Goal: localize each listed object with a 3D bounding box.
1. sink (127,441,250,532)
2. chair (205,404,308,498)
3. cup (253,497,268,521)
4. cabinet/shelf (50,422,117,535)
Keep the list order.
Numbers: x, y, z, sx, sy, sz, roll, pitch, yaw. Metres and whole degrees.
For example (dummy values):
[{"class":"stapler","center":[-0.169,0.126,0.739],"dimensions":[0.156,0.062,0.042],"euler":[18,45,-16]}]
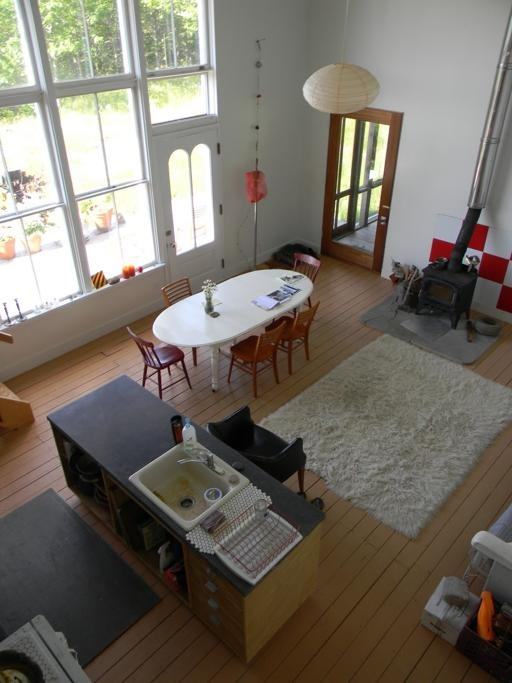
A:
[{"class":"sink","center":[-0.389,0.891,2.962],"dimensions":[0.496,0.304,0.469],"euler":[31,51,32]},{"class":"chair","center":[0.023,0.767,3.481],"dimensions":[0.355,0.511,0.393],"euler":[-40,60,-22]},{"class":"cup","center":[0.025,0.885,2.642],"dimensions":[0.060,0.093,0.060],"euler":[1,43,0]},{"class":"cabinet/shelf","center":[-1.191,0.974,3.520],"dimensions":[0.206,0.566,0.616],"euler":[-30,53,-29]}]
